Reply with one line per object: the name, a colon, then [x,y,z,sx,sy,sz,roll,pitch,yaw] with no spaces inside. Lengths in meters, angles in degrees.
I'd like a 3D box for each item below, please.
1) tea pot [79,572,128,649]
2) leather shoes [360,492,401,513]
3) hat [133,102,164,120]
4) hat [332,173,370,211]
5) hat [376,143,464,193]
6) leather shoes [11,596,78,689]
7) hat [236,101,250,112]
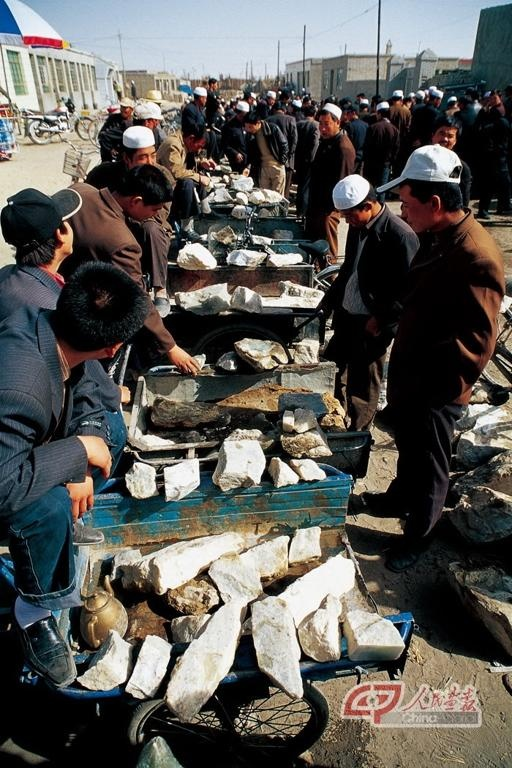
tea pot: [-0.555,0.855,1.897,0.156,0.161,0.224,-12,21,8]
leather shoes: [0.735,0.708,2.905,0.053,0.127,0.217,12,0,-39]
hat: [-1.383,-3.422,6.240,0.322,0.202,0.781,-6,28,-10]
hat: [0.556,-1.108,2.862,0.211,0.204,0.087,30,-2,35]
hat: [0.744,-0.970,2.247,0.318,0.171,0.207,2,21,8]
leather shoes: [-0.670,0.822,1.558,0.124,0.092,0.345,-11,45,-34]
hat: [-0.310,-6.000,10.725,0.269,0.125,0.381,-9,66,-15]
